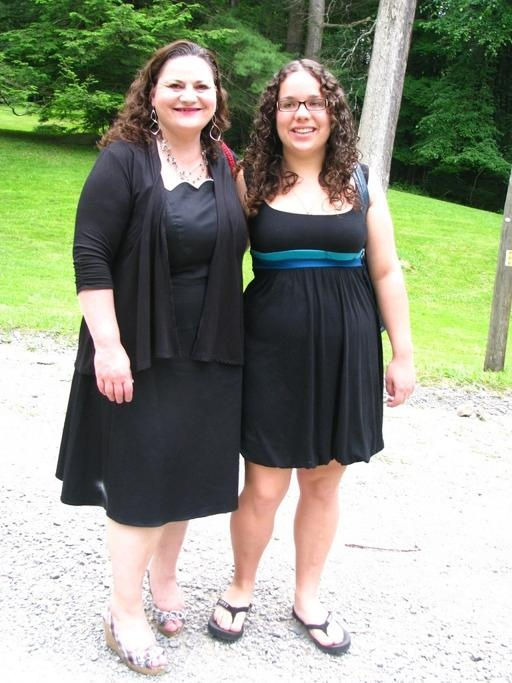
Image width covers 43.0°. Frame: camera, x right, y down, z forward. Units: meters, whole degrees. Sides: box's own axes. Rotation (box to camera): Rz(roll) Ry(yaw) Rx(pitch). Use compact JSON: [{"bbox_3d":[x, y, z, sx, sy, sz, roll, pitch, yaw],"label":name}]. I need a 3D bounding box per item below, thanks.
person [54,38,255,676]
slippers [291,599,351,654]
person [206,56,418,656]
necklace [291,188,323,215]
[{"bbox_3d":[-0.283,0.075,1.932,0.547,1.858,0.413,4,14,-16],"label":"person"},{"bbox_3d":[0.228,0.979,2.192,0.107,0.086,0.252,-10,20,-36],"label":"slippers"},{"bbox_3d":[0.143,0.044,2.277,0.685,1.926,0.639,-2,13,-18],"label":"person"},{"bbox_3d":[0.158,-0.422,1.975,0.042,0.016,0.107,-20,59,-10],"label":"necklace"}]
